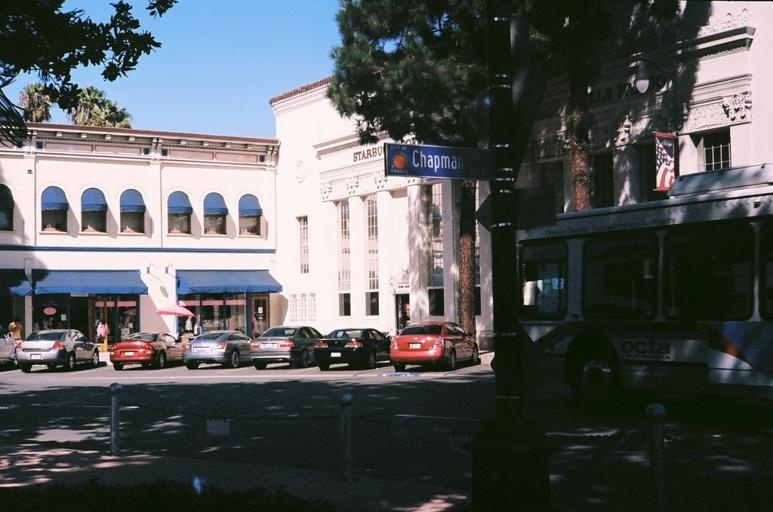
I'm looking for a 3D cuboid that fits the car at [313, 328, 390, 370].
[{"bbox_3d":[-1.278,3.462,36.750,1.355,0.946,2.949,-3,-3,21],"label":"car"}]

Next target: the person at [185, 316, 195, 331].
[{"bbox_3d":[-10.510,3.597,52.508,0.681,0.705,1.348,7,-8,-12],"label":"person"}]

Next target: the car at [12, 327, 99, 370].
[{"bbox_3d":[-13.419,3.931,40.758,1.544,1.760,3.578,-4,-7,20],"label":"car"}]

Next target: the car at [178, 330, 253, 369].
[{"bbox_3d":[-6.781,3.837,40.304,1.572,1.517,2.530,-7,-9,43],"label":"car"}]

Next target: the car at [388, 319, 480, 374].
[{"bbox_3d":[1.996,3.228,35.291,2.122,1.638,3.821,-8,-10,43],"label":"car"}]

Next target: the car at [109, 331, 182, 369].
[{"bbox_3d":[-9.910,3.992,41.693,1.363,0.852,2.835,-2,-1,11],"label":"car"}]
